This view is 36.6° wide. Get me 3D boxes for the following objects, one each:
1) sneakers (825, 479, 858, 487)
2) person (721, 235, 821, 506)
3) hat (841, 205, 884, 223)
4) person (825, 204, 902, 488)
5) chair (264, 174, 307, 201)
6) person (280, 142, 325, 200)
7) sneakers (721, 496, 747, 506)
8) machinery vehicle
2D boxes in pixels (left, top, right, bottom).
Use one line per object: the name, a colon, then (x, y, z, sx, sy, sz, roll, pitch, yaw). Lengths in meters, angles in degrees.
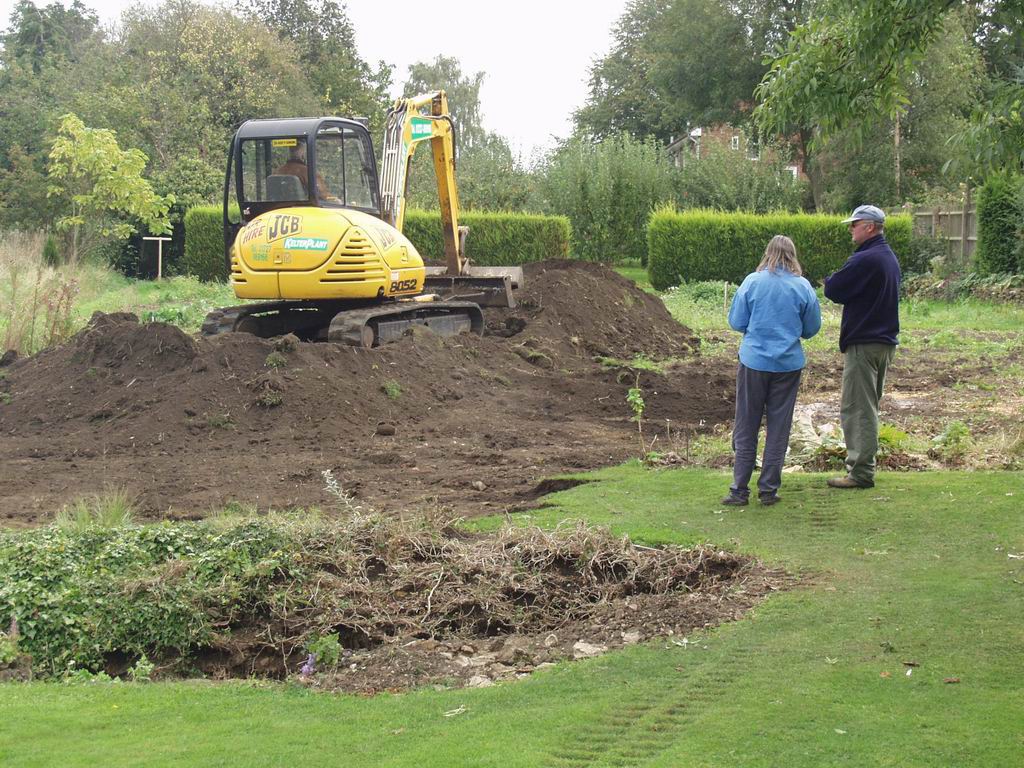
sneakers: (3.433, 1.027, 16.002, 0.266, 0.100, 0.099, 5, 1, 31)
person: (2.629, -0.158, 15.741, 0.861, 2.639, 0.992, 3, 14, 19)
hat: (3.650, -1.775, 16.034, 0.385, 0.191, 0.276, 6, 5, 21)
person: (3.647, -0.403, 16.023, 0.704, 2.857, 0.916, 2, 13, 12)
chair: (-3.179, -2.691, 21.126, 0.571, 0.366, 0.402, 4, 16, 17)
person: (-2.937, -2.919, 20.965, 0.622, 0.719, 0.406, 9, 33, 22)
sneakers: (2.256, 1.185, 15.675, 0.223, 0.093, 0.100, -2, 10, 6)
machinery vehicle: (-1.958, -2.633, 23.308, 3.001, 3.548, 5.690, 6, 9, 26)
